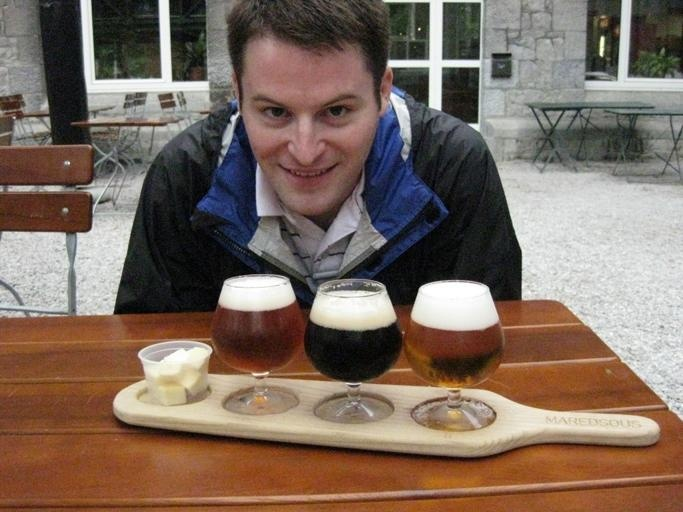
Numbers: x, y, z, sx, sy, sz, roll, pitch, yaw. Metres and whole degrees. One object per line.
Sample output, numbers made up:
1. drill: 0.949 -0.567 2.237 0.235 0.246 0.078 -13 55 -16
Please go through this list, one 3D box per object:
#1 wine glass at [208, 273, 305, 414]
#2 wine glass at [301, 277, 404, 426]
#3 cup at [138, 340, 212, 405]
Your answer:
1. wine glass: -0.147 0.157 1.116 0.171 0.216 0.158 -5 4 -26
2. wine glass: 0.040 0.146 1.105 0.218 0.251 0.217 2 16 12
3. cup: -0.299 0.212 1.118 0.138 0.091 0.137 -7 2 0
